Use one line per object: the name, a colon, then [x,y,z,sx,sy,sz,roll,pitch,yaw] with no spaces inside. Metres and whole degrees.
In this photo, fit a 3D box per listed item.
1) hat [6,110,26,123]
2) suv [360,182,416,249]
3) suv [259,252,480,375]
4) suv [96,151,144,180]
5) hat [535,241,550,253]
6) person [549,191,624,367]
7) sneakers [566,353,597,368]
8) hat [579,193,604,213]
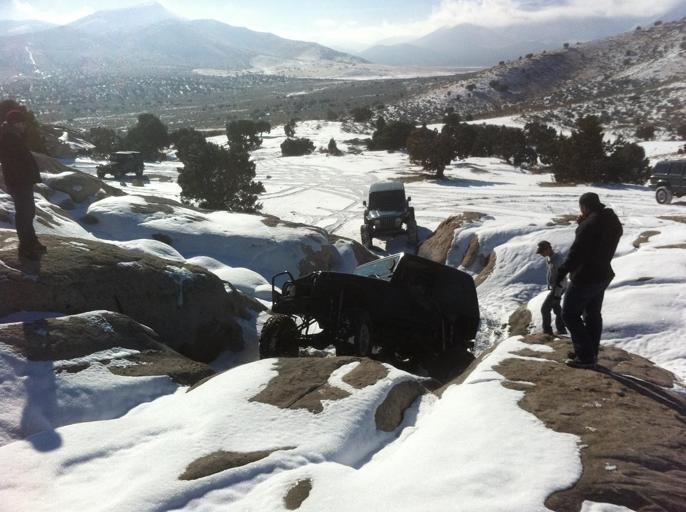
hat: [-4.970,-2.102,9.555,0.264,0.222,0.279,4,14,-7]
suv: [1.656,-1.690,23.180,1.865,1.492,2.785,-3,10,6]
suv: [0.618,1.040,11.318,3.788,1.480,2.103,11,-14,-32]
suv: [-13.589,-5.684,39.485,2.940,1.263,1.837,-3,4,-44]
hat: [3.411,-0.133,10.670,0.205,0.229,0.273,2,11,18]
person: [3.440,0.329,8.900,0.703,2.405,0.860,6,15,34]
sneakers: [3.294,1.464,8.846,0.462,0.164,0.174,8,6,20]
hat: [3.569,-0.773,9.058,0.288,0.261,0.393,-30,-5,26]
